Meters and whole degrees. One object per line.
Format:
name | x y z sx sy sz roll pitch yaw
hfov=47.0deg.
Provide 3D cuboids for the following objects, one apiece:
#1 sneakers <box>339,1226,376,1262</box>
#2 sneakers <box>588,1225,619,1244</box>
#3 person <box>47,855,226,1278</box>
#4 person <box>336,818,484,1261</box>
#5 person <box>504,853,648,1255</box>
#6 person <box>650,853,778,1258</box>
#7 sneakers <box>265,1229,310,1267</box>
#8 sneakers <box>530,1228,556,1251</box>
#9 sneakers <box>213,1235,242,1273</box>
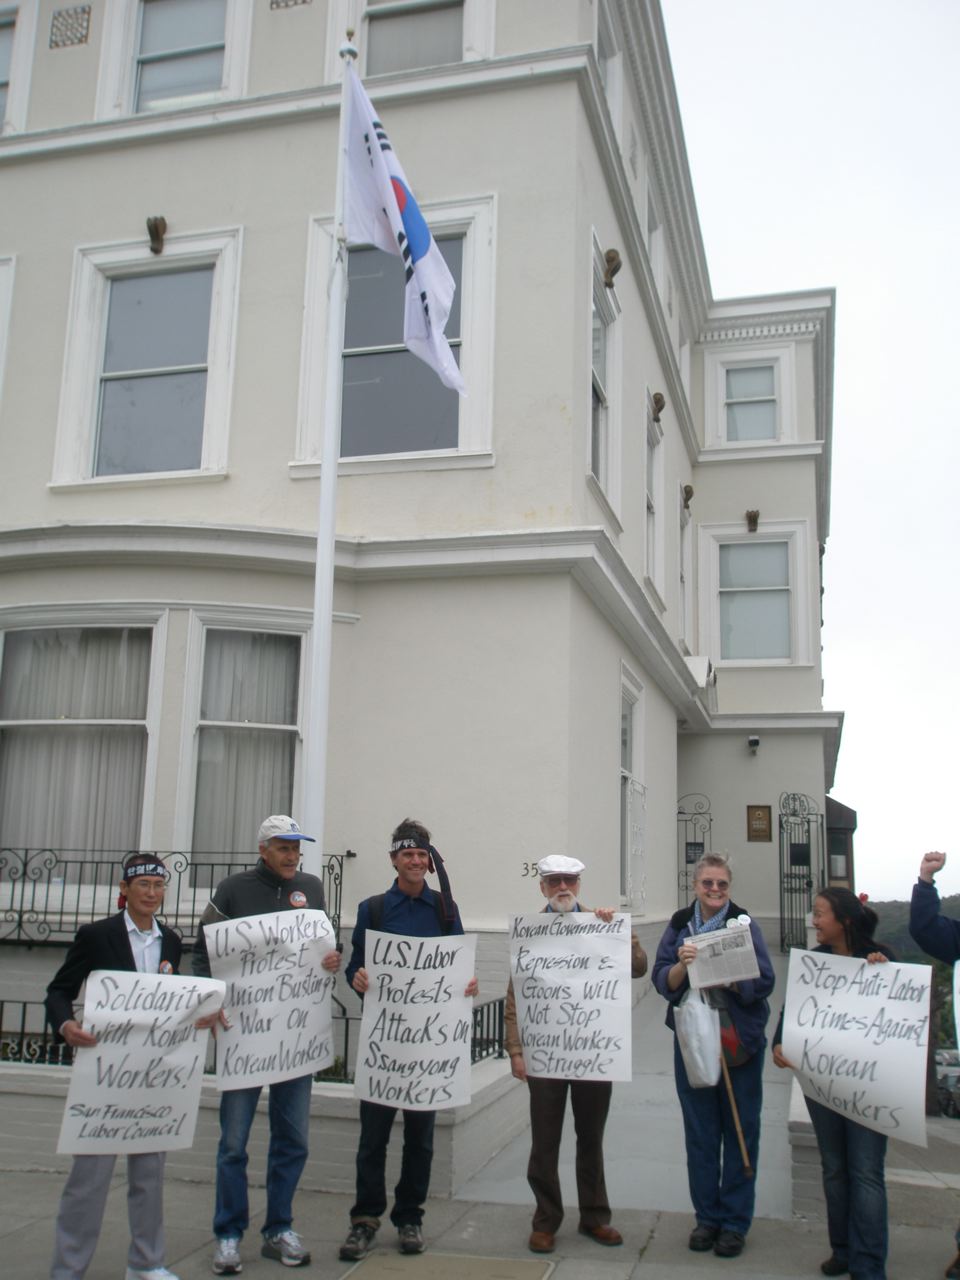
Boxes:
sneakers | -0.497 2.426 4.444 0.091 0.092 0.232 -1 -11 14
sneakers | 0.529 2.506 4.678 0.064 0.057 0.129 5 -15 -32
person | -1.327 1.590 4.085 0.561 1.558 0.582 6 -11 -22
person | -0.334 1.707 4.878 0.529 1.800 0.721 3 -11 -7
person | 0.445 1.814 5.001 0.631 1.619 0.724 3 -11 -9
person | 1.016 1.762 4.787 0.503 1.606 0.577 0 -11 9
sneakers | -0.751 2.391 4.331 0.079 0.109 0.233 19 -25 -41
sneakers | 0.263 2.490 4.584 0.109 0.079 0.231 1 -11 5
sneakers | -0.955 2.340 4.199 0.065 0.081 0.178 6 -21 -10
